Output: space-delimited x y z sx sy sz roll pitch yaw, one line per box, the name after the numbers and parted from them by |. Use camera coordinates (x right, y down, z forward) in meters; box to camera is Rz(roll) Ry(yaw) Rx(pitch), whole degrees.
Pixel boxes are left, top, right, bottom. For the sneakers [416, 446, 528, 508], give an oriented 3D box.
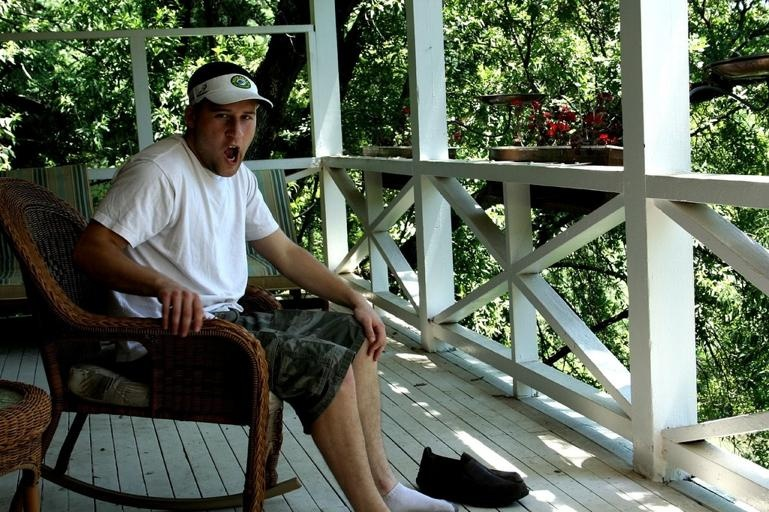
0.331 0.879 2.443 0.481 0.201 0.181 0 4 20 | sneakers
